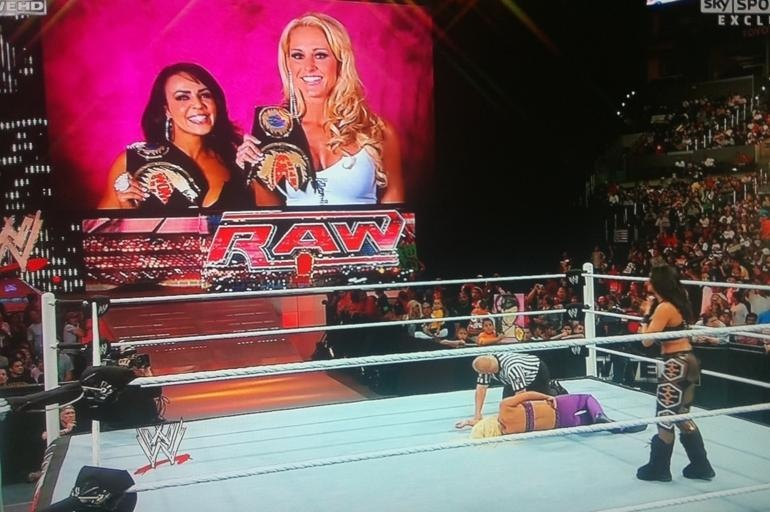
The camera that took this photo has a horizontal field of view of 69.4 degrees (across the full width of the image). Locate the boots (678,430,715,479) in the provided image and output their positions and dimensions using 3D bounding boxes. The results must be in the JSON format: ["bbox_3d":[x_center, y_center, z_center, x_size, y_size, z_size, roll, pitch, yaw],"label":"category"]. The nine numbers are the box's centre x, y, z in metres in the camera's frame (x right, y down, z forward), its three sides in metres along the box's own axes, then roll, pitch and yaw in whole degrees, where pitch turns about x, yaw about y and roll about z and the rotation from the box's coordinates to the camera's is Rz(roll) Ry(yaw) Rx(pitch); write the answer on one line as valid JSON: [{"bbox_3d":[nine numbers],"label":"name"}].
[{"bbox_3d":[2.635,1.671,4.688,0.268,0.418,0.117,-2,1,16],"label":"boots"}]
